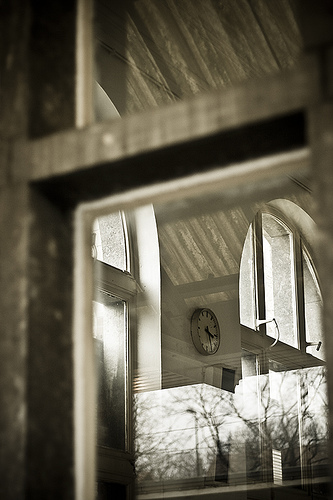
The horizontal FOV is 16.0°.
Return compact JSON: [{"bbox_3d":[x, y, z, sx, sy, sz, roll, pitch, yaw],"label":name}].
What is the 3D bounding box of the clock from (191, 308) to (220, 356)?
[{"bbox_3d":[0.141,0.303,4.404,0.026,0.179,0.170,-12,-6,31],"label":"clock"}]
